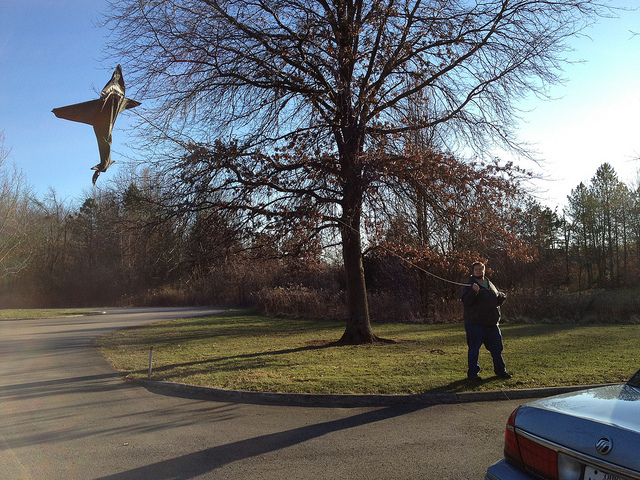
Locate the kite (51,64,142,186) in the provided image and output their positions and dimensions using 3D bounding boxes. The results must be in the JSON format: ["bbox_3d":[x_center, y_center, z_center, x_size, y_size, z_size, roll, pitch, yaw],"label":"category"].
[{"bbox_3d":[-5.871,-3.240,14.892,0.883,3.499,2.228,-3,-5,18],"label":"kite"}]
